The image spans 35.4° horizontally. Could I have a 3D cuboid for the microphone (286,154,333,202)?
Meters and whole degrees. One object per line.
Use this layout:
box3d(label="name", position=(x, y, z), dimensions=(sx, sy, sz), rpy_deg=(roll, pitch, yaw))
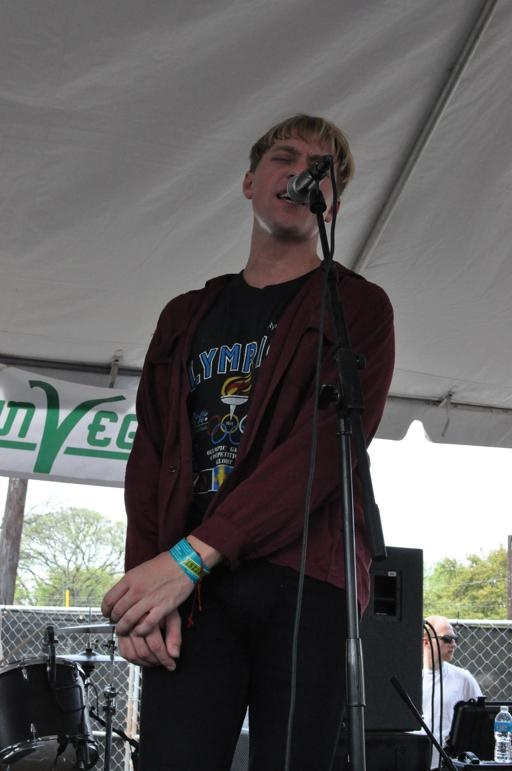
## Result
box3d(label="microphone", position=(0.117, -0.394, 1.533), dimensions=(0.078, 0.095, 0.074), rpy_deg=(-6, 35, -40))

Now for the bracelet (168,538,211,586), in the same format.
box3d(label="bracelet", position=(-0.112, 0.295, 1.341), dimensions=(0.075, 0.036, 0.058), rpy_deg=(47, -7, 9))
